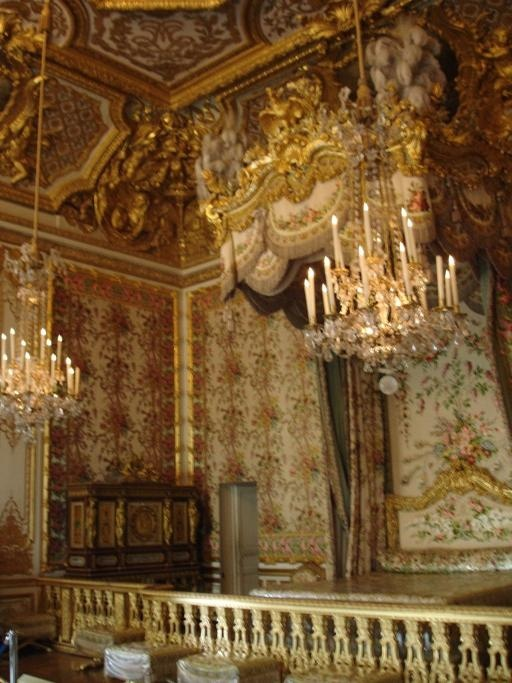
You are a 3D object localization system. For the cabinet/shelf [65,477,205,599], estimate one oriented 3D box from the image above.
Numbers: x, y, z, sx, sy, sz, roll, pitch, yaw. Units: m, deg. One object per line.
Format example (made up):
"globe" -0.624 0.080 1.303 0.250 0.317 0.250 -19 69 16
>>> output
"cabinet/shelf" -1.062 1.679 9.760 0.348 0.933 1.464 -13 -18 35

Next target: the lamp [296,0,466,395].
"lamp" 0.757 -1.134 7.152 0.984 2.836 1.753 -4 -15 5
